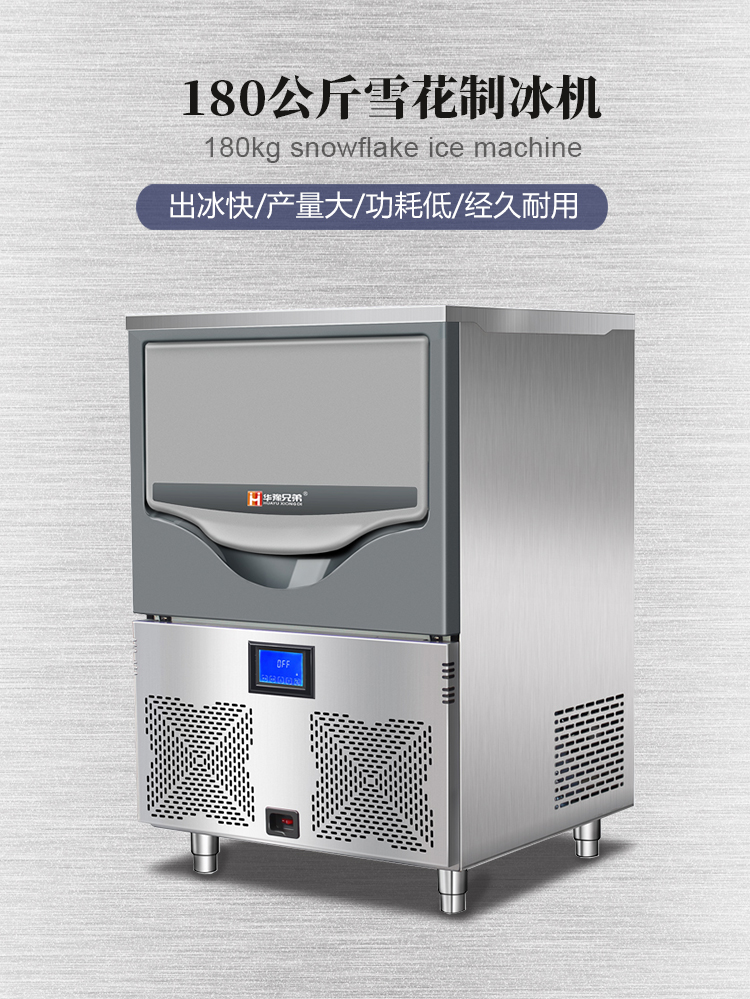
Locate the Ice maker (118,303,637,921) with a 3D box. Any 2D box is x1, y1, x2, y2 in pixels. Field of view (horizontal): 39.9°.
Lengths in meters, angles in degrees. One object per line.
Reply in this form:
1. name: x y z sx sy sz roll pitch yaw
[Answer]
1. Ice maker: 0.009 0.217 2.596 1.034 1.417 0.973 -5 -8 36
